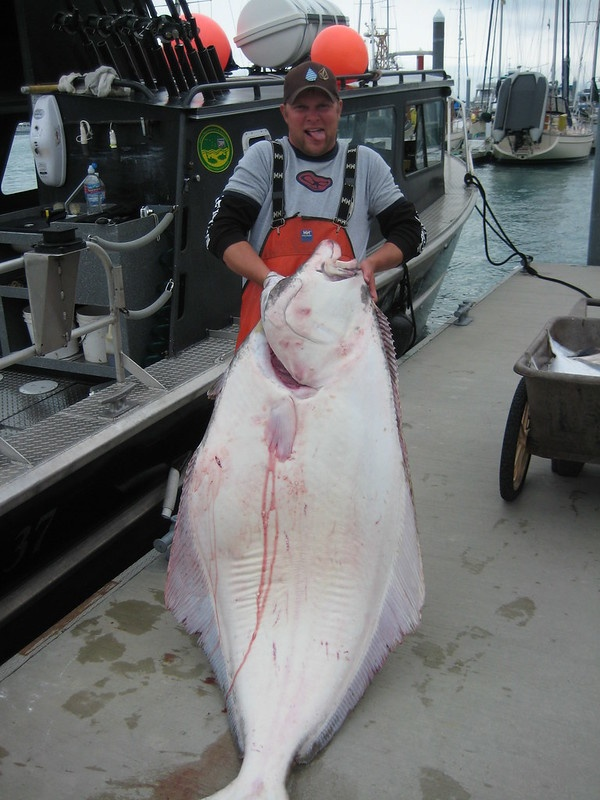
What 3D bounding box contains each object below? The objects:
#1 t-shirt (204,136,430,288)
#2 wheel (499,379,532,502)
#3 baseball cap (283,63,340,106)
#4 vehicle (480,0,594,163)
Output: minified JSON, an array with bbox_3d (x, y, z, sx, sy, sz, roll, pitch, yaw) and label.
[{"bbox_3d":[0.020,-0.665,2.305,0.676,0.258,0.661,24,23,40],"label":"t-shirt"},{"bbox_3d":[0.899,0.171,2.725,0.112,0.581,0.320,5,20,18],"label":"wheel"},{"bbox_3d":[0.033,-0.951,2.009,0.119,0.086,0.166,0,20,-1],"label":"baseball cap"},{"bbox_3d":[8.405,-9.781,23.109,2.964,2.901,5.697,10,21,30],"label":"vehicle"}]
